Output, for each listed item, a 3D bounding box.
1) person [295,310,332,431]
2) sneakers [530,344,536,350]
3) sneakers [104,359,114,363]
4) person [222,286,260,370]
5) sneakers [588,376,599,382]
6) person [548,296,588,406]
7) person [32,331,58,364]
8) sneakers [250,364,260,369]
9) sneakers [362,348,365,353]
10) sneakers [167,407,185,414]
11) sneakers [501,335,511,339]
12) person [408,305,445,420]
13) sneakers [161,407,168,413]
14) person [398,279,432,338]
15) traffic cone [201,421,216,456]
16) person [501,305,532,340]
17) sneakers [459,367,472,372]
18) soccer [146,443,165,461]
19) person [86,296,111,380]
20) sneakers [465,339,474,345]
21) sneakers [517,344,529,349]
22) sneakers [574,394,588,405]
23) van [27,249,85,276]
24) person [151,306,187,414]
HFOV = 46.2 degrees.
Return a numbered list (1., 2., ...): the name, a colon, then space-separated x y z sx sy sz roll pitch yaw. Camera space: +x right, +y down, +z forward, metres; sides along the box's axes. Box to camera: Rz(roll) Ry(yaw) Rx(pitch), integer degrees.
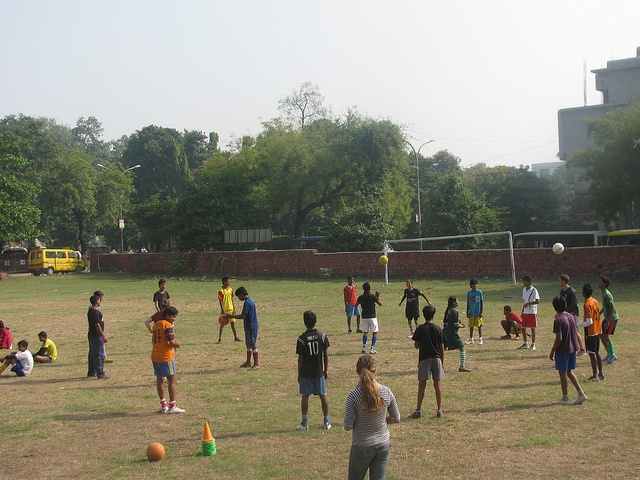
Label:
1. person: -0.173 2.949 17.053 0.814 2.645 0.647 -2 11 -3
2. sneakers: 6.140 3.090 21.665 0.164 0.177 0.106 -1 -2 23
3. sneakers: -6.030 3.462 21.431 0.225 0.103 0.080 2 -3 -24
4. person: -2.070 2.354 20.805 0.674 2.281 1.353 -2 11 -6
5. sneakers: 6.878 3.512 18.931 0.308 0.146 0.116 -2 -5 18
6. person: 5.852 2.632 17.719 0.970 2.447 1.013 -2 -3 43
7. person: -8.064 3.140 21.804 0.691 0.922 0.731 6 6 -6
8. sneakers: -1.796 3.465 20.574 0.115 0.100 0.225 1 1 -11
9. sneakers: 1.256 3.209 21.689 0.089 0.093 0.164 -1 -8 4
10. sneakers: -3.443 4.068 17.872 0.403 0.184 0.151 1 -3 -5
11. sneakers: 5.695 2.993 23.100 0.290 0.131 0.101 1 -5 36
12. person: 2.483 2.800 17.461 0.758 2.555 0.910 1 11 10
13. sneakers: -3.717 4.070 17.898 0.142 0.151 0.091 -6 -11 24
14. person: 3.082 2.290 24.752 1.269 1.913 0.705 -14 -23 40
15. traffic cone: -2.424 4.288 16.334 0.311 0.690 0.421 -3 11 -9
16. person: 5.886 2.509 22.938 0.596 1.009 0.592 -4 1 43
17. sneakers: 3.855 3.432 19.881 0.309 0.131 0.109 2 -4 -9
18. soccer: -3.572 4.574 16.210 0.389 0.328 0.256 -3 11 -12
19. person: -6.078 2.628 20.265 0.563 2.157 0.959 -5 12 -17
20. sneakers: 4.469 3.054 22.613 0.285 0.191 0.106 -1 -5 43
21. sneakers: 5.834 3.101 21.772 0.388 0.177 0.137 -3 -6 36
22. sneakers: 6.149 3.780 17.755 0.145 0.188 0.432 -24 -14 -31
23. van: -20.941 1.679 58.589 1.616 1.596 3.133 0 1 30
24. person: -3.679 2.883 17.949 0.655 2.436 0.861 -4 12 -15
